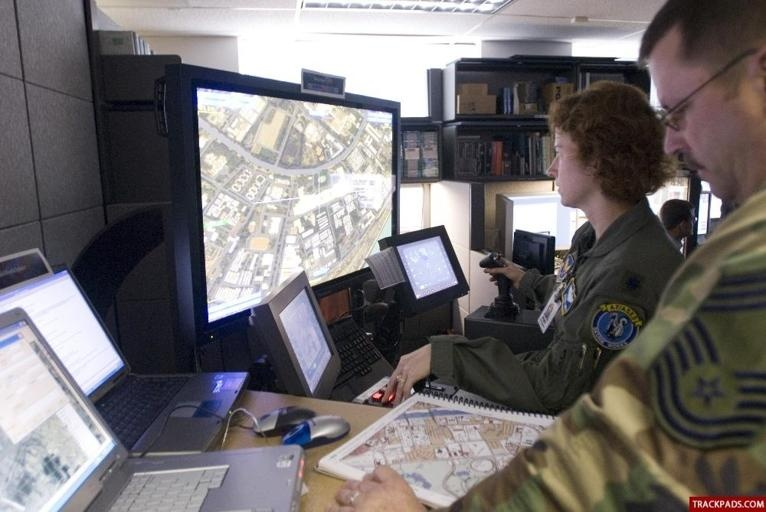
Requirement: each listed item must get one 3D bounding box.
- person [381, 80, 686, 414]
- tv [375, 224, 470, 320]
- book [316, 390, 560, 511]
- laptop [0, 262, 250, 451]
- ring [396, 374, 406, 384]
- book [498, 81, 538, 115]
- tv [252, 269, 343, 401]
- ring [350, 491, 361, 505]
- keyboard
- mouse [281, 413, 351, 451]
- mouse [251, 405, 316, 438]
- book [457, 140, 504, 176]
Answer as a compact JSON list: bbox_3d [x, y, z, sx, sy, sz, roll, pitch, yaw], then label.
[{"bbox_3d":[0.523,-0.102,2.105,0.973,1.353,1.015,9,17,19],"label":"person"},{"bbox_3d":[0.162,0.076,2.314,0.185,0.438,0.515,-17,-1,44],"label":"tv"},{"bbox_3d":[0.141,0.441,1.264,0.375,0.054,0.359,10,20,37],"label":"book"},{"bbox_3d":[-0.615,0.259,1.360,0.435,0.277,0.432,5,13,-4],"label":"laptop"},{"bbox_3d":[0.052,0.355,1.563,0.024,0.009,0.032,1,4,-2],"label":"ring"},{"bbox_3d":[1.060,-1.217,4.225,0.299,0.273,0.161,-6,6,-38],"label":"book"},{"bbox_3d":[-0.258,0.240,1.581,0.154,0.366,0.340,-21,5,1],"label":"tv"},{"bbox_3d":[-0.049,0.443,0.992,0.016,0.004,0.016,-37,24,20],"label":"ring"},{"bbox_3d":[-0.095,0.339,1.845,0.076,0.195,0.220,-28,2,45],"label":"keyboard"},{"bbox_3d":[-0.158,0.427,1.316,0.128,0.039,0.072,-2,10,-26],"label":"mouse"},{"bbox_3d":[-0.251,0.412,1.358,0.124,0.040,0.075,-3,7,-12],"label":"mouse"},{"bbox_3d":[0.743,-0.755,4.200,0.340,0.306,0.079,-4,6,-20],"label":"book"}]
